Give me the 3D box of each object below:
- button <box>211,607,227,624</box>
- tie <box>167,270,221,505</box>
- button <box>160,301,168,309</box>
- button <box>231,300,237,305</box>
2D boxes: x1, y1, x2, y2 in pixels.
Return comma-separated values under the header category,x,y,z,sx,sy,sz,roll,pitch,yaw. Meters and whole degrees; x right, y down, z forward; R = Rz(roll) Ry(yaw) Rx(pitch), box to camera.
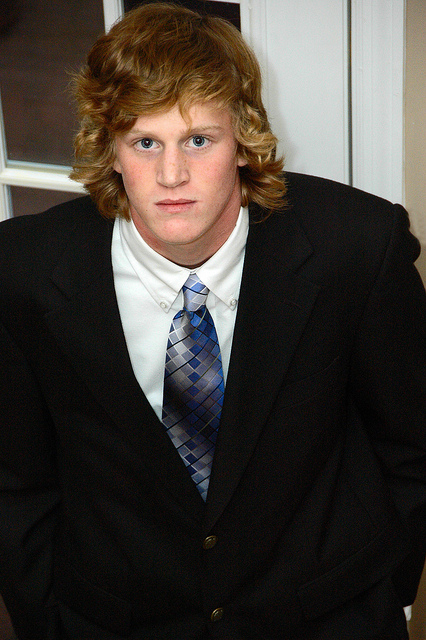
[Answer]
category,x,y,z,sx,sy,sz,roll,pitch,yaw
button,0.011,0.486,0.943,0.031,0.031,0.006,-14,14,-38
tie,-0.027,0.110,0.984,0.086,0.373,0.115,-3,11,13
button,-0.087,-0.027,1.021,0.014,0.014,0.003,1,-1,3
button,0.038,-0.031,1.021,0.010,0.008,0.006,-6,11,-3
